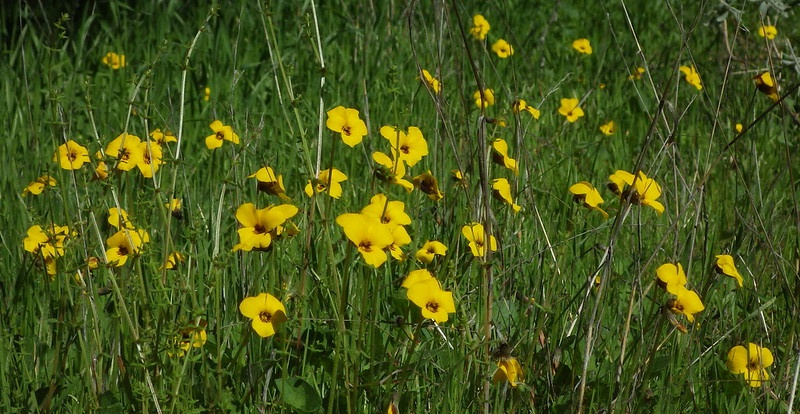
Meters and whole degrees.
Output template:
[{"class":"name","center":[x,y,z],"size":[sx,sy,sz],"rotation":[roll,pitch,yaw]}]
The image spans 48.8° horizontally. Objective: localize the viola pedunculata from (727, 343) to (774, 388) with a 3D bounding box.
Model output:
[{"class":"viola pedunculata","center":[1.700,0.757,4.282],"size":[0.212,0.216,0.076],"rotation":[-43,-2,-4]}]

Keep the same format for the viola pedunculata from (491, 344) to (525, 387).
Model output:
[{"class":"viola pedunculata","center":[0.510,0.757,4.139],"size":[0.143,0.278,0.161],"rotation":[1,17,14]}]
